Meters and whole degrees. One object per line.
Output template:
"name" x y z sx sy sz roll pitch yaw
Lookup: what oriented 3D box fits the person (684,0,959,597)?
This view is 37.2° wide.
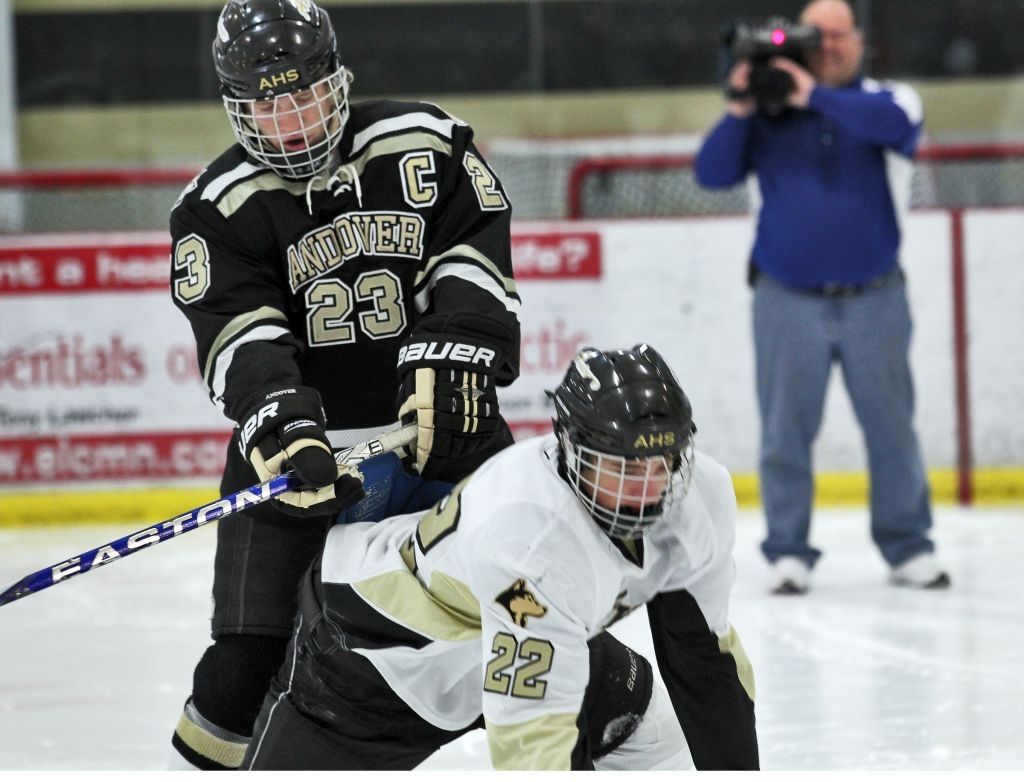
"person" 0.986 -0.144 4.584 0.752 1.687 0.368 8 17 39

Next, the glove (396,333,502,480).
"glove" -0.142 0.033 3.485 0.241 0.312 0.145 0 -1 5

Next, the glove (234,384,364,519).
"glove" -0.496 0.136 3.400 0.143 0.223 0.303 9 32 -52

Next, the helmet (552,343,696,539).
"helmet" 0.245 0.100 3.358 0.317 0.374 0.398 -8 29 -17

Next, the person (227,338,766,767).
"person" -0.014 0.443 3.337 1.082 1.037 0.499 -1 13 8

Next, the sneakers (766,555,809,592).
"sneakers" 0.898 0.596 4.931 0.129 0.097 0.106 0 -11 20
